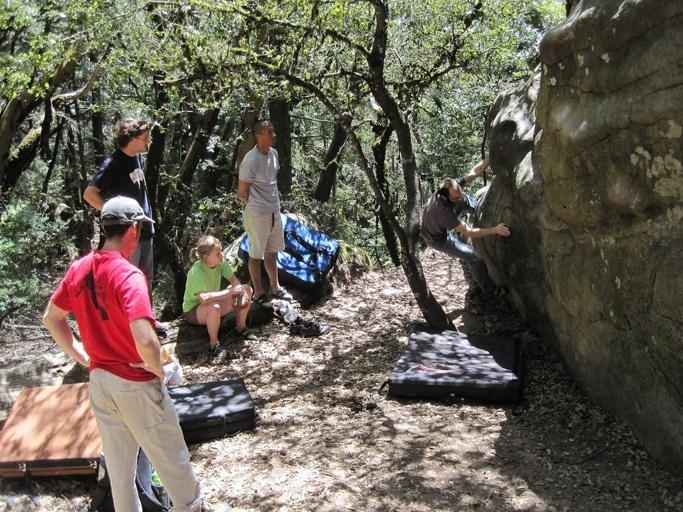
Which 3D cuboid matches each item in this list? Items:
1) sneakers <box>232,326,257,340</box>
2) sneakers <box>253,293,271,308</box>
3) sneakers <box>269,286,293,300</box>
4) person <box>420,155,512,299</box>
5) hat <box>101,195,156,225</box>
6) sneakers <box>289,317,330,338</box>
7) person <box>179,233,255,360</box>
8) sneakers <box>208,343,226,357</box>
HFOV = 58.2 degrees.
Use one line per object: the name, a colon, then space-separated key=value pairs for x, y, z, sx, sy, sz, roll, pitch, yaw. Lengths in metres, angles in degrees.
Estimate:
sneakers: x=-1.215 y=0.963 z=7.694 sx=0.299 sy=0.144 sz=0.121 roll=6 pitch=14 yaw=8
sneakers: x=-1.029 y=0.576 z=7.983 sx=0.291 sy=0.129 sz=0.118 roll=12 pitch=18 yaw=38
sneakers: x=-0.802 y=0.486 z=8.069 sx=0.267 sy=0.129 sz=0.144 roll=8 pitch=18 yaw=21
person: x=1.626 y=-0.383 z=8.203 sx=1.013 sy=1.478 sz=1.543 roll=-13 pitch=53 yaw=-1
hat: x=-1.564 y=-0.315 z=4.528 sx=0.203 sy=0.168 sz=0.320 roll=11 pitch=5 yaw=33
sneakers: x=-0.415 y=0.884 z=7.848 sx=0.504 sy=0.263 sz=0.220 roll=-1 pitch=15 yaw=-5
person: x=-1.515 y=0.549 z=7.618 sx=0.928 sy=1.556 sz=0.904 roll=15 pitch=28 yaw=22
sneakers: x=-1.474 y=1.120 z=7.294 sx=0.250 sy=0.197 sz=0.092 roll=-2 pitch=7 yaw=-16
